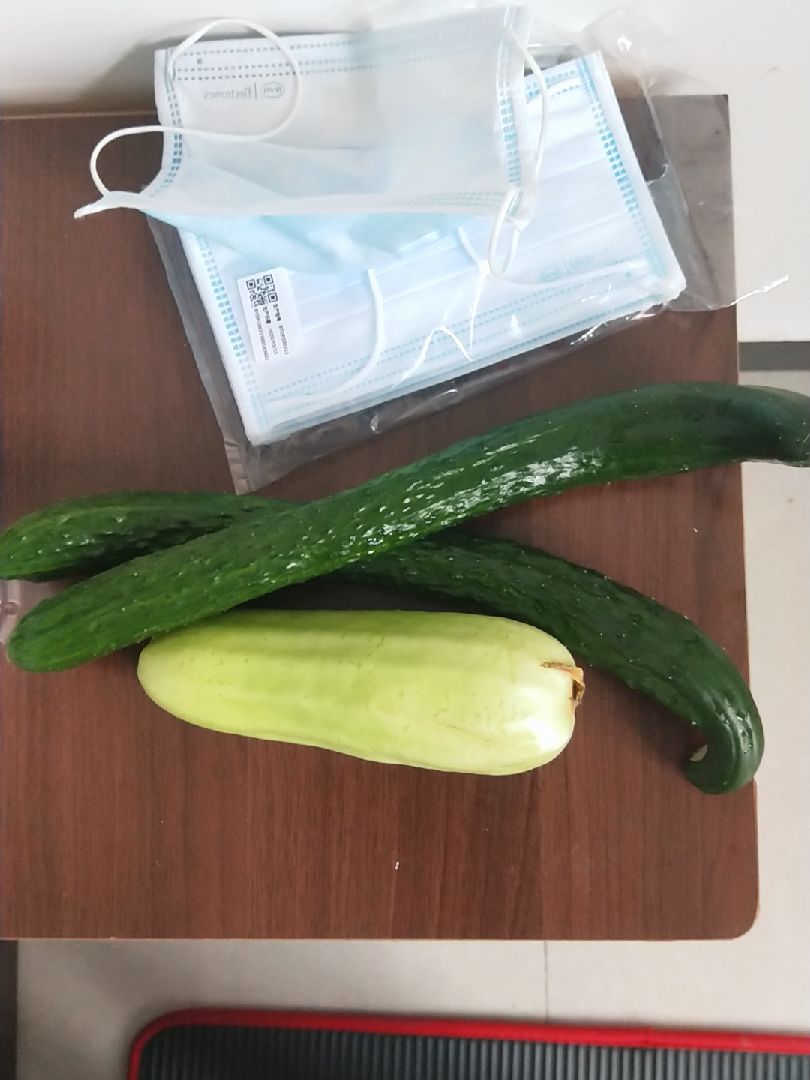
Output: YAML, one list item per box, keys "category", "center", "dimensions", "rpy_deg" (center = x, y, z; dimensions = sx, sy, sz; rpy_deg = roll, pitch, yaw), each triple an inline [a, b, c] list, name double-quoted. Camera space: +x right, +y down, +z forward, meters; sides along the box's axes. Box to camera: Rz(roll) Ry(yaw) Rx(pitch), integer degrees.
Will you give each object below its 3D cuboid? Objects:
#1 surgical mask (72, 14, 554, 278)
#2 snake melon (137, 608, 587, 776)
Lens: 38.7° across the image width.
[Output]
- category: "surgical mask"
  center: [-0.056, -0.322, 0.951]
  dimensions: [0.350, 0.184, 0.065]
  rpy_deg: [-3, -7, 10]
- category: "snake melon"
  center: [-0.028, 0.120, 0.928]
  dimensions: [0.377, 0.102, 0.120]
  rpy_deg: [2, 32, 4]
